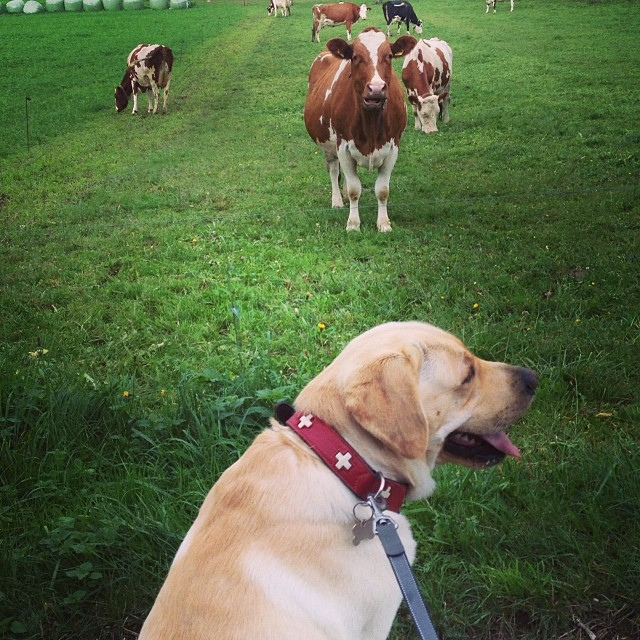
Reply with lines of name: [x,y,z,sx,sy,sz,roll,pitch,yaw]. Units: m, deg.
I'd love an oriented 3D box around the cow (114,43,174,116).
cow: [-2.262,-3.071,8.562,0.396,0.883,1.282,-10,12,-42]

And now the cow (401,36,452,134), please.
cow: [1.931,-4.625,12.758,0.730,1.509,2.860,-4,36,5]
